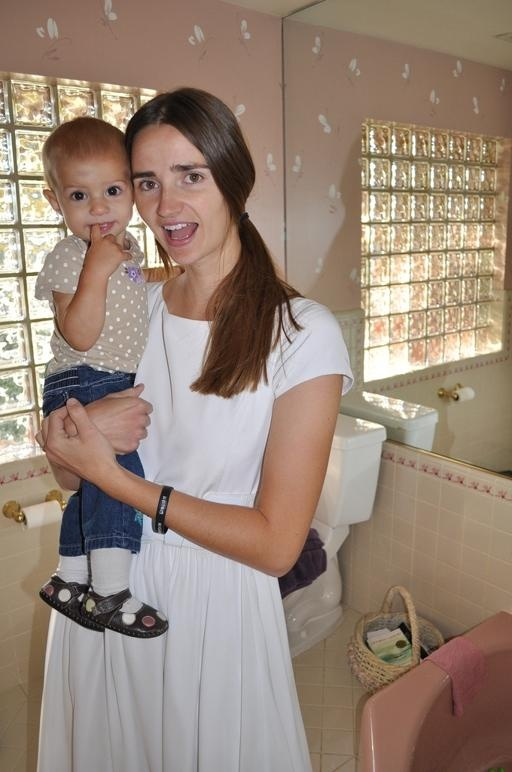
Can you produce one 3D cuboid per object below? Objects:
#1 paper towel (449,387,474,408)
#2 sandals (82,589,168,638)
[{"bbox_3d":[0.611,0.031,1.787,0.056,0.034,0.045,-6,28,-40],"label":"paper towel"},{"bbox_3d":[-0.197,0.341,0.903,0.114,0.045,0.058,6,18,13],"label":"sandals"}]
